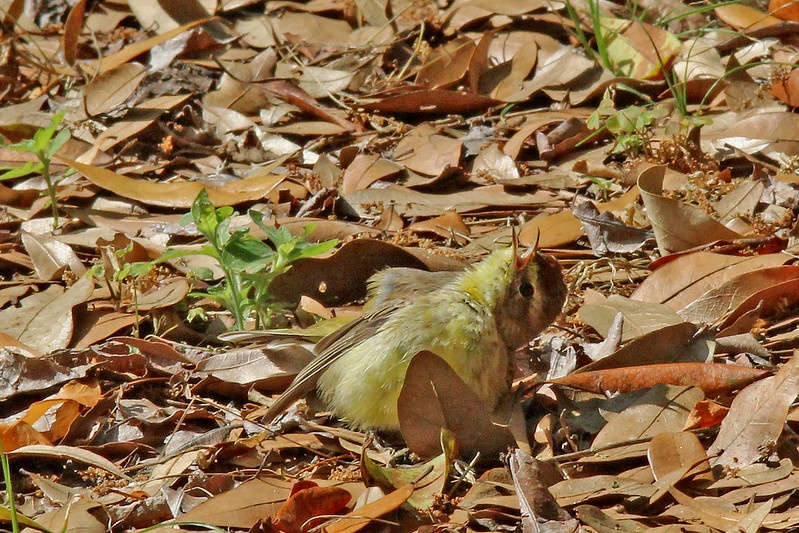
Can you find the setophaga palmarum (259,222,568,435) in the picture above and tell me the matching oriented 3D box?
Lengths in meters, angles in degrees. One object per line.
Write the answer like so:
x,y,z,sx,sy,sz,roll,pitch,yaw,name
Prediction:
0.081,0.193,3.411,1.027,0.533,0.552,-3,29,0,setophaga palmarum
